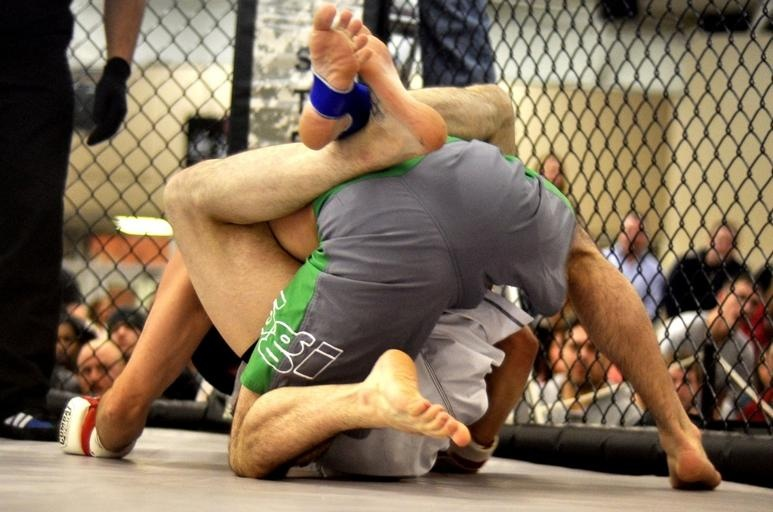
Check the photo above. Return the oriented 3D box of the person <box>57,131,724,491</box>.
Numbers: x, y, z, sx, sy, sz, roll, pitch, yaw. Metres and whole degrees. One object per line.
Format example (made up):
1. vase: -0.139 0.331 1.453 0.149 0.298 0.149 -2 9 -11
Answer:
1. person: -0.017 0.105 2.841 1.415 1.003 1.925 2 -5 -42

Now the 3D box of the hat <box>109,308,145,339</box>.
1. hat: -1.258 0.333 4.356 0.170 0.210 0.227 0 7 -13
